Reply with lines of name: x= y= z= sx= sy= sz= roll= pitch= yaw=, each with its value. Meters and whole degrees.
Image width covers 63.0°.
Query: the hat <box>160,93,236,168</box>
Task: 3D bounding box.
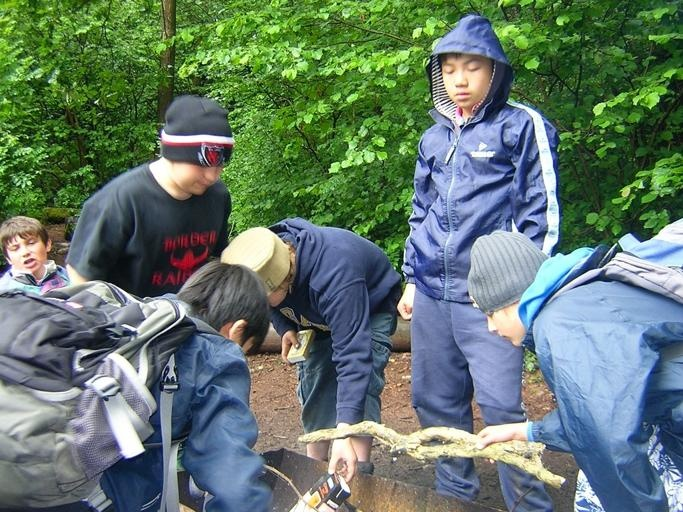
hat: x=-0.663 y=-0.620 z=2.726 sx=0.347 sy=0.288 sz=0.349 roll=8 pitch=16 yaw=26

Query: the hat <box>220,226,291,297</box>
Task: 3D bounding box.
hat: x=-0.419 y=-0.030 z=2.712 sx=0.308 sy=0.161 sz=0.310 roll=-30 pitch=41 yaw=8
